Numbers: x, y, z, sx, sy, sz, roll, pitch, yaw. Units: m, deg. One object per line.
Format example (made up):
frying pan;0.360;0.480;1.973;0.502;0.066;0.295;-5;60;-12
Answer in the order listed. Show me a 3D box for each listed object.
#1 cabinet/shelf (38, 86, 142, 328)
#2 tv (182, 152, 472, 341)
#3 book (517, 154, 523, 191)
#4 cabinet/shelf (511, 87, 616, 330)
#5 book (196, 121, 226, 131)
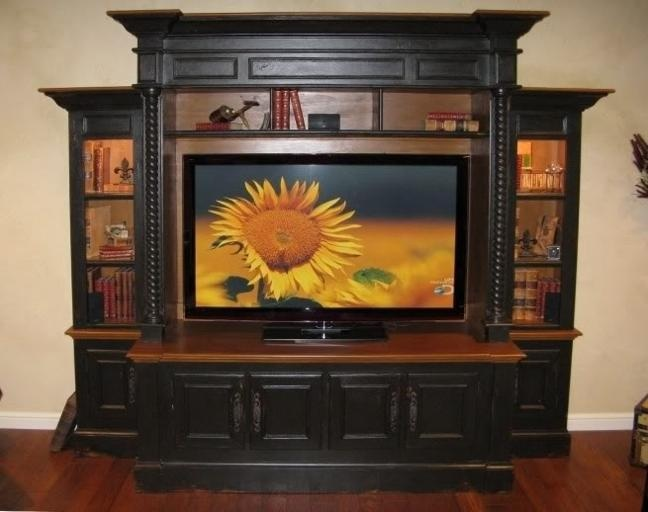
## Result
cabinet/shelf;-1.560;-0.313;4.294;0.633;1.621;0.374;-1;5;-9
tv;0.029;-0.114;4.207;1.759;0.849;0.383;1;3;2
book;1.360;-0.582;4.321;0.042;0.254;0.110;2;6;17
cabinet/shelf;1.574;-0.303;4.278;0.596;1.625;0.328;1;5;8
book;-0.737;-0.854;4.090;0.166;0.028;0.128;0;5;0
